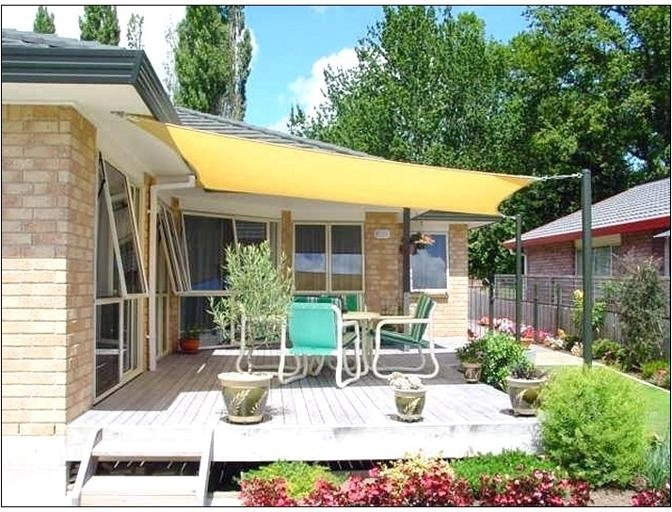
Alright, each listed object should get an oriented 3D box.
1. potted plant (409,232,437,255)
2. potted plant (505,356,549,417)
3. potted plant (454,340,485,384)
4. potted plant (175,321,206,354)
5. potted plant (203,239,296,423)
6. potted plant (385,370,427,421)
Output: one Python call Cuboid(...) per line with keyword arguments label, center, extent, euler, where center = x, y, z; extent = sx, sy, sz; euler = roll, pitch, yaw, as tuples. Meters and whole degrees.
Cuboid(label="potted plant", center=(2.366, -0.371, 15.395), extent=(0.588, 0.622, 1.262), euler=(0, -2, 9))
Cuboid(label="potted plant", center=(2.500, 1.802, 7.601), extent=(0.554, 0.724, 0.640), euler=(1, -8, -4))
Cuboid(label="potted plant", center=(2.310, 1.856, 9.921), extent=(0.549, 0.771, 0.586), euler=(0, -2, -7))
Cuboid(label="potted plant", center=(-3.048, 1.756, 12.174), extent=(0.552, 0.656, 0.469), euler=(2, -2, -35))
Cuboid(label="potted plant", center=(-1.153, 1.008, 7.495), extent=(0.971, 2.358, 1.352), euler=(8, -9, -39))
Cuboid(label="potted plant", center=(0.945, 1.837, 7.293), extent=(0.476, 0.555, 0.396), euler=(0, -2, 15))
